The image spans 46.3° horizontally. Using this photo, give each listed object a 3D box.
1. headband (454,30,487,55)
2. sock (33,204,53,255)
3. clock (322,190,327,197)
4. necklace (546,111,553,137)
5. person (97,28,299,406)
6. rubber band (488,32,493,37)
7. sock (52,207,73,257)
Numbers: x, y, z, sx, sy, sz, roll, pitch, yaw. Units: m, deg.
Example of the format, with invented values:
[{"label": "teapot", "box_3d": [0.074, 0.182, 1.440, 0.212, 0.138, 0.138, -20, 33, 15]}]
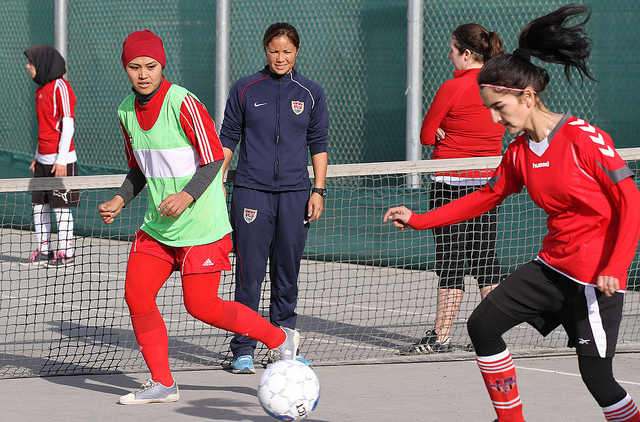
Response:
[{"label": "headband", "box_3d": [1.450, -1.672, 7.255, 0.220, 0.065, 0.240, 8, 25, -50]}, {"label": "sock", "box_3d": [-3.987, 0.241, 10.805, 0.195, 0.734, 0.154, 9, -32, -34]}, {"label": "clock", "box_3d": [0.044, -0.172, 6.972, 0.010, 0.044, 0.043, 0, -4, 29]}, {"label": "necklace", "box_3d": [1.575, -0.597, 5.166, 0.018, 0.182, 0.026, 13, 0, 27]}, {"label": "person", "box_3d": [-1.029, 0.089, 6.025, 1.170, 2.990, 0.485, 0, 2, -14]}, {"label": "rubber band", "box_3d": [1.668, -1.735, 7.329, 0.048, 0.027, 0.034, -4, -8, 15]}, {"label": "sock", "box_3d": [-3.660, 0.322, 10.869, 0.243, 0.857, 0.260, -17, 39, -40]}]
